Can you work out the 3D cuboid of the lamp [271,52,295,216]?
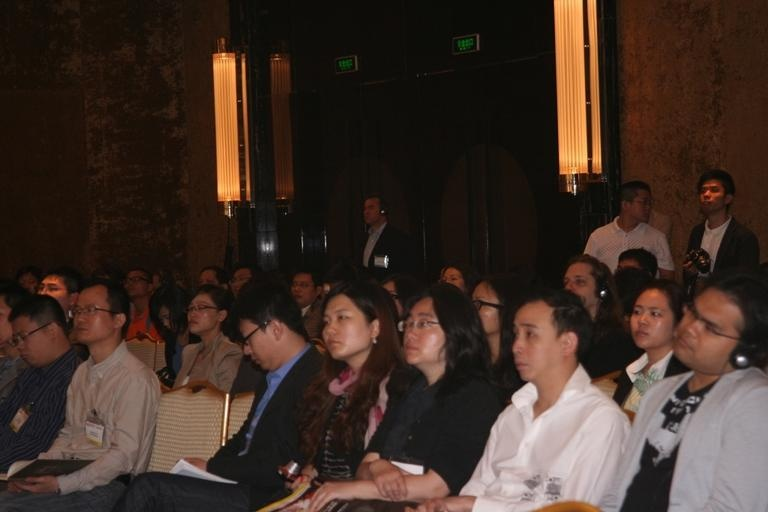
[{"bbox_3d":[-1.256,-1.536,8.643,0.257,1.889,0.227,-1,0,-6],"label":"lamp"}]

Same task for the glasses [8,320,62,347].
[{"bbox_3d":[-2.549,0.559,5.130,0.209,0.060,0.220,-22,-2,44],"label":"glasses"}]

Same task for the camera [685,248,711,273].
[{"bbox_3d":[2.362,0.036,5.275,0.138,0.170,0.180,10,22,-11],"label":"camera"}]

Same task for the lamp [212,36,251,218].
[{"bbox_3d":[-1.761,-1.489,8.148,0.392,2.031,0.203,-1,0,-10],"label":"lamp"}]

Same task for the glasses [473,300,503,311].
[{"bbox_3d":[0.742,0.347,4.979,0.130,0.038,0.125,7,-7,-7],"label":"glasses"}]

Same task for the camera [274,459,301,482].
[{"bbox_3d":[-0.582,1.324,4.294,0.118,0.081,0.150,36,2,15],"label":"camera"}]
